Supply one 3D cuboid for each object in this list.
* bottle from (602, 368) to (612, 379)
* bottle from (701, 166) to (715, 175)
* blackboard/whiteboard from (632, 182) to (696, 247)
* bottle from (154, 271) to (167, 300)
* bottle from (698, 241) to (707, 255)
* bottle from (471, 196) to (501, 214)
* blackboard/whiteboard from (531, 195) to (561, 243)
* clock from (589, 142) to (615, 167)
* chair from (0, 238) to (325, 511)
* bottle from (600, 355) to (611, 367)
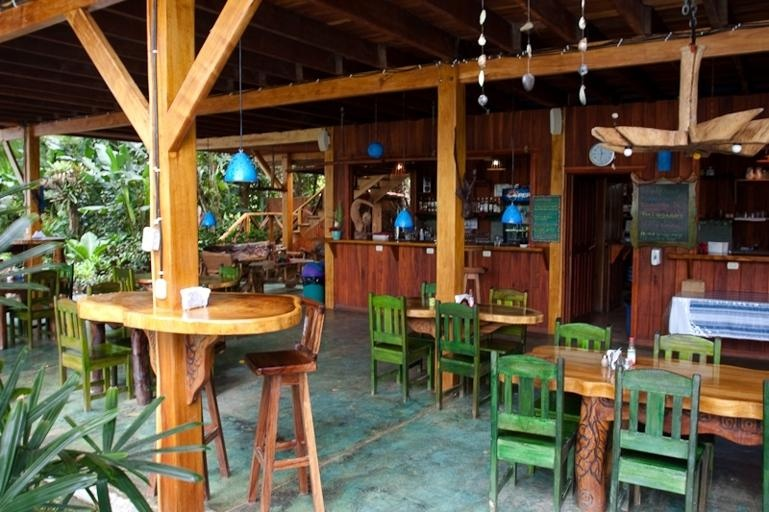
[{"bbox_3d":[1.923,1.010,5.105,0.063,0.050,0.065,0,6,0],"label":"bottle"},{"bbox_3d":[5.815,-1.524,10.706,0.195,0.199,0.195,-4,7,-24],"label":"bottle"},{"bbox_3d":[4.369,-0.646,9.196,0.919,1.127,0.158,1,-2,29],"label":"blackboard/whiteboard"},{"bbox_3d":[-1.762,0.233,4.670,0.090,0.221,0.085,-2,6,0],"label":"bottle"},{"bbox_3d":[4.934,-0.118,9.208,0.166,0.202,0.175,1,4,6],"label":"bottle"},{"bbox_3d":[2.112,-1.035,12.135,0.558,0.324,0.174,-1,6,10],"label":"bottle"},{"bbox_3d":[2.750,-0.630,10.120,0.505,0.801,0.144,0,6,19],"label":"blackboard/whiteboard"},{"bbox_3d":[3.513,-1.631,9.627,0.399,0.391,0.148,0,6,18],"label":"clock"},{"bbox_3d":[-1.541,1.208,4.648,1.746,1.762,1.799,0,6,11],"label":"chair"},{"bbox_3d":[1.957,0.935,5.319,0.070,0.123,0.073,-2,6,0],"label":"bottle"}]
